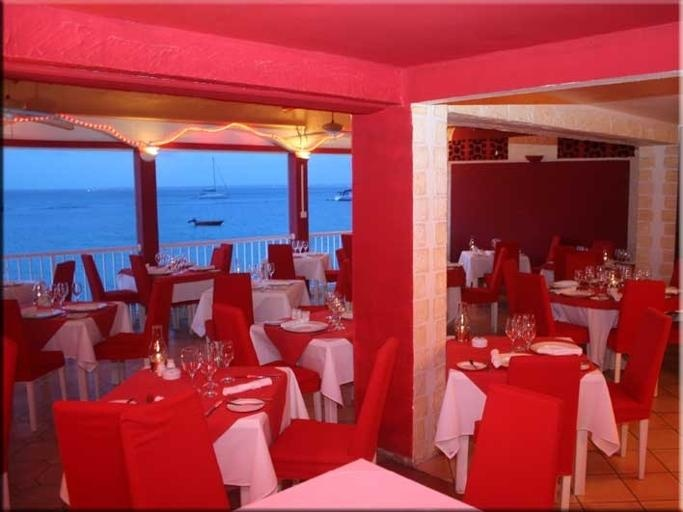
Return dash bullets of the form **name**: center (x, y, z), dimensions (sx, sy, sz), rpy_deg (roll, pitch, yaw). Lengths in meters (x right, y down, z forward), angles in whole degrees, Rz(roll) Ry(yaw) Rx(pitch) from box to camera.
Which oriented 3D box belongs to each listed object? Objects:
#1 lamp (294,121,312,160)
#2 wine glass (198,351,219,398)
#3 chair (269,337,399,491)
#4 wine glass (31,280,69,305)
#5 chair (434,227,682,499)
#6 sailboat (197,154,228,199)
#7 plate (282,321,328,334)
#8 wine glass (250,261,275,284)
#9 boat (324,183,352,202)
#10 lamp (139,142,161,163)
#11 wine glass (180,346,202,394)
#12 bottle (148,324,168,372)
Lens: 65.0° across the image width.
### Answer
- **lamp**: center (-0.756, -2.109, 10.037), dimensions (0.257, 0.558, 0.705), rpy_deg (-3, 6, -4)
- **wine glass**: center (-0.780, 0.653, 3.136), dimensions (0.098, 0.238, 0.370), rpy_deg (-5, 6, -15)
- **chair**: center (-0.052, 0.842, 3.577), dimensions (0.849, 1.326, 0.747), rpy_deg (5, 5, 10)
- **wine glass**: center (-2.872, 0.359, 5.268), dimensions (0.356, 0.268, 0.227), rpy_deg (7, -2, -2)
- **chair**: center (1.370, 0.895, 3.717), dimensions (1.528, 0.863, 1.510), rpy_deg (-1, 5, -18)
- **sailboat**: center (-9.903, -6.203, 40.727), dimensions (2.781, 3.808, 0.836), rpy_deg (-6, 48, -17)
- **plate**: center (-0.301, 0.557, 4.276), dimensions (0.362, 0.062, 0.250), rpy_deg (-3, 6, -8)
- **wine glass**: center (-1.039, 0.217, 6.922), dimensions (0.306, 0.346, 0.308), rpy_deg (0, -10, 0)
- **boat**: center (-0.141, -5.557, 47.671), dimensions (1.711, 1.425, 1.145), rpy_deg (-2, 6, 11)
- **lamp**: center (-2.980, -1.611, 8.405), dimensions (0.257, 0.210, 0.280), rpy_deg (6, 16, 20)
- **wine glass**: center (-0.891, 0.636, 3.178), dimensions (0.107, 0.239, 0.310), rpy_deg (-5, 6, -18)
- **bottle**: center (-1.159, 0.576, 3.363), dimensions (0.103, 0.279, 0.323), rpy_deg (-5, 7, -21)
